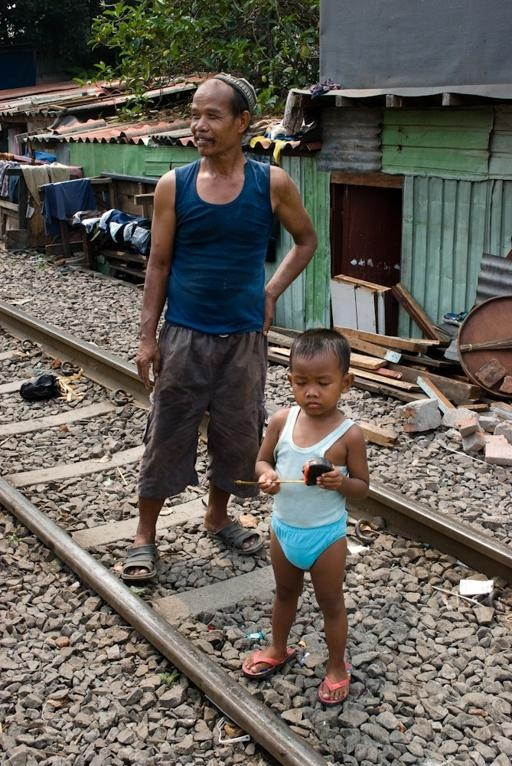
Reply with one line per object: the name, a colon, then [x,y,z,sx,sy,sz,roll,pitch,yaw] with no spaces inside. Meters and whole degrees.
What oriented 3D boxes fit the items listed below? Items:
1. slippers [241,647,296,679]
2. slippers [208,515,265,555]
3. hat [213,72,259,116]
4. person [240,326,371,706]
slippers: [0.040,1.029,2.458,0.164,0.042,0.090,-6,12,-35]
slippers: [-0.104,0.809,3.556,0.273,0.094,0.123,11,25,43]
hat: [-0.085,-1.177,2.719,0.156,0.159,0.337,-2,13,0]
person: [0.137,0.476,2.200,0.452,1.309,0.388,3,15,21]
